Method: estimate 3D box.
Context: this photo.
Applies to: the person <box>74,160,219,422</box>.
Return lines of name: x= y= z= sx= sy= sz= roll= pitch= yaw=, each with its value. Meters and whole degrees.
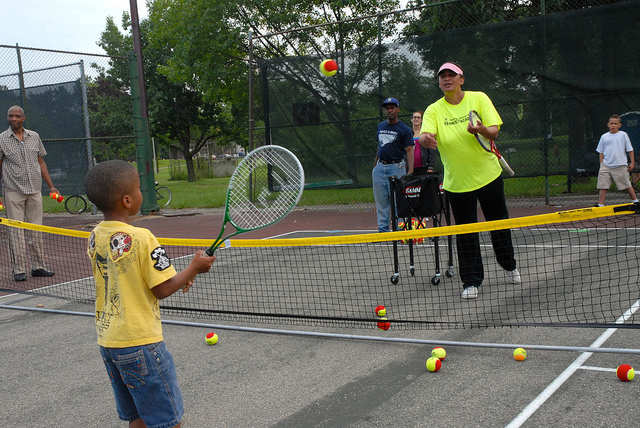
person: x=-1.396 y=0.611 z=4.516 sx=0.847 sy=2.061 sz=0.436 roll=-1 pitch=6 yaw=21

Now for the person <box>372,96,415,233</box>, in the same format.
person: x=1.158 y=-0.643 z=9.103 sx=0.631 sy=1.757 sz=0.607 roll=-2 pitch=6 yaw=7

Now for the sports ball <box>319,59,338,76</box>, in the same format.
sports ball: x=0.205 y=-3.237 z=13.034 sx=0.433 sy=0.468 sz=0.450 roll=-6 pitch=26 yaw=3

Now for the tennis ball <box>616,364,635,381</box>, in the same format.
tennis ball: x=2.754 y=1.448 z=5.258 sx=0.129 sy=0.138 sz=0.136 roll=6 pitch=32 yaw=-4

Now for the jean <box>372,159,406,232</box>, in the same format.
jean: x=1.090 y=-0.282 z=9.052 sx=0.494 sy=1.073 sz=0.503 roll=-2 pitch=6 yaw=6

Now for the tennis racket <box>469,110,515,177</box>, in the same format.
tennis racket: x=2.053 y=-0.853 z=7.068 sx=0.066 sy=0.897 sz=0.366 roll=-28 pitch=33 yaw=31

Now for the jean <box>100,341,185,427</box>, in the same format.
jean: x=-1.356 y=1.304 z=4.460 sx=0.607 sy=0.646 sz=0.198 roll=-1 pitch=6 yaw=18

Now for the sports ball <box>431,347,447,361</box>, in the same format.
sports ball: x=1.195 y=1.406 z=5.865 sx=0.108 sy=0.118 sz=0.114 roll=-1 pitch=8 yaw=0

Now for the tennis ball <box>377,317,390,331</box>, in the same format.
tennis ball: x=0.695 y=1.228 z=6.366 sx=0.120 sy=0.131 sz=0.126 roll=1 pitch=6 yaw=0

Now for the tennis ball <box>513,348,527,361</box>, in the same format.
tennis ball: x=1.958 y=1.385 z=5.703 sx=0.103 sy=0.109 sz=0.111 roll=-10 pitch=47 yaw=10

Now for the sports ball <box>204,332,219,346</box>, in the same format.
sports ball: x=-1.210 y=1.426 z=6.579 sx=0.115 sy=0.123 sz=0.124 roll=-10 pitch=43 yaw=10

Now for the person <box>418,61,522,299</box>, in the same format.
person: x=1.847 y=-0.435 z=7.232 sx=1.121 sy=2.900 sz=0.704 roll=-1 pitch=6 yaw=16

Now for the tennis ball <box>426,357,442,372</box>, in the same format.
tennis ball: x=1.109 y=1.463 z=5.665 sx=0.117 sy=0.126 sz=0.118 roll=6 pitch=2 yaw=0

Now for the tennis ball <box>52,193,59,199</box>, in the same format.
tennis ball: x=-4.262 y=-0.300 z=9.429 sx=0.140 sy=0.103 sz=0.187 roll=1 pitch=-4 yaw=-24

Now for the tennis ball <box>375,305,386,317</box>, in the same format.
tennis ball: x=0.690 y=1.102 z=6.641 sx=0.087 sy=0.094 sz=0.087 roll=14 pitch=22 yaw=-6
